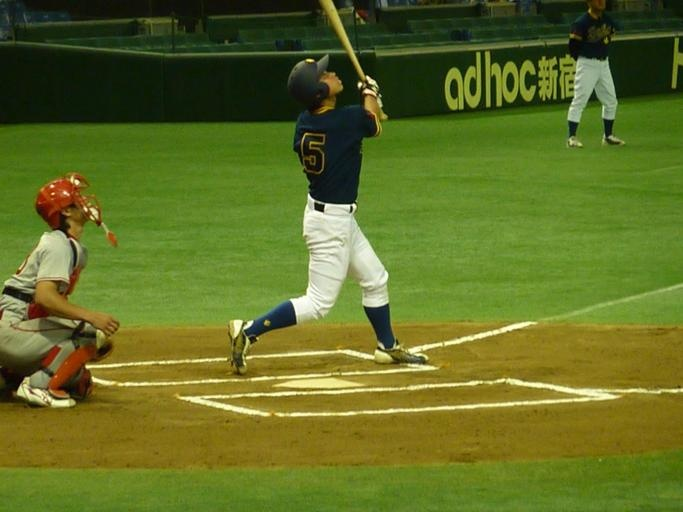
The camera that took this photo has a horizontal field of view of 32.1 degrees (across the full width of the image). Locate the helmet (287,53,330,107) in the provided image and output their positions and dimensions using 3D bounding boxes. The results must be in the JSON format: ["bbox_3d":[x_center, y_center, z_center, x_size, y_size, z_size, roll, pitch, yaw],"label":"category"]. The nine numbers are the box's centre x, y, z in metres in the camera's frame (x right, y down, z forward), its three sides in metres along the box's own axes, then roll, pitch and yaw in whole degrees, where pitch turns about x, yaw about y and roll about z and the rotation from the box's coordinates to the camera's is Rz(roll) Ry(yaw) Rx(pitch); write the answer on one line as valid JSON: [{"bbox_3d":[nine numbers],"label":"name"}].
[{"bbox_3d":[-0.236,-1.417,9.230,0.272,0.373,0.202,-28,66,-31],"label":"helmet"}]

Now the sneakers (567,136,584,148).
[{"bbox_3d":[3.437,-1.707,17.569,0.127,0.100,0.259,-2,1,-1],"label":"sneakers"}]

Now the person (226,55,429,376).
[{"bbox_3d":[-0.090,-0.341,9.436,1.445,2.429,0.424,-2,14,-8],"label":"person"}]

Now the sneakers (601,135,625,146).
[{"bbox_3d":[4.021,-1.741,17.689,0.401,0.164,0.130,-1,18,1],"label":"sneakers"}]

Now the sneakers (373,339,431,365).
[{"bbox_3d":[0.469,0.773,9.730,0.512,0.209,0.166,1,-1,-2],"label":"sneakers"}]

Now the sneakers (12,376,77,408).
[{"bbox_3d":[-2.205,1.025,8.915,0.489,0.209,0.169,10,10,-9],"label":"sneakers"}]

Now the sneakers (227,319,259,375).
[{"bbox_3d":[-0.782,0.688,9.527,0.243,0.472,0.162,-4,9,5],"label":"sneakers"}]

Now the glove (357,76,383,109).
[{"bbox_3d":[0.240,-1.341,9.561,0.086,0.266,0.271,-8,12,3],"label":"glove"}]

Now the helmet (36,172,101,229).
[{"bbox_3d":[-2.075,-0.404,8.966,0.486,0.400,0.350,-13,11,-11],"label":"helmet"}]
